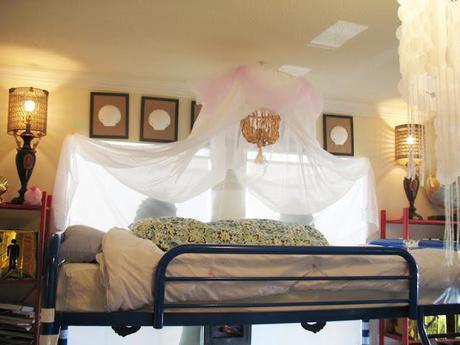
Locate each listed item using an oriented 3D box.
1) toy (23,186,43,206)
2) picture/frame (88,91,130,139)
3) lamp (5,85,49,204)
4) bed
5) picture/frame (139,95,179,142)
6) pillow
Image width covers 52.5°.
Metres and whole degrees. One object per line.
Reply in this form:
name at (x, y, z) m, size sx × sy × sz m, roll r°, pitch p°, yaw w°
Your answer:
toy at (-1.662, 0.202, 3.946) m, size 0.138 × 0.157 × 0.157 m, roll 0°, pitch -14°, yaw 7°
picture/frame at (-1.219, -0.555, 4.617) m, size 0.537 × 0.641 × 0.032 m, roll 0°, pitch 0°, yaw -9°
lamp at (-1.881, -0.253, 4.289) m, size 0.350 × 1.109 × 0.368 m, roll 3°, pitch -8°, yaw -23°
bed at (0.172, 0.776, 3.024) m, size 1.786 × 0.320 × 0.934 m, roll 1°, pitch -5°, yaw -12°
picture/frame at (-0.739, -0.529, 4.712) m, size 0.540 × 0.617 × 0.041 m, roll 1°, pitch -4°, yaw -9°
pillow at (-1.004, 0.485, 3.128) m, size 0.257 × 0.250 × 0.118 m, roll 12°, pitch -39°, yaw -18°
